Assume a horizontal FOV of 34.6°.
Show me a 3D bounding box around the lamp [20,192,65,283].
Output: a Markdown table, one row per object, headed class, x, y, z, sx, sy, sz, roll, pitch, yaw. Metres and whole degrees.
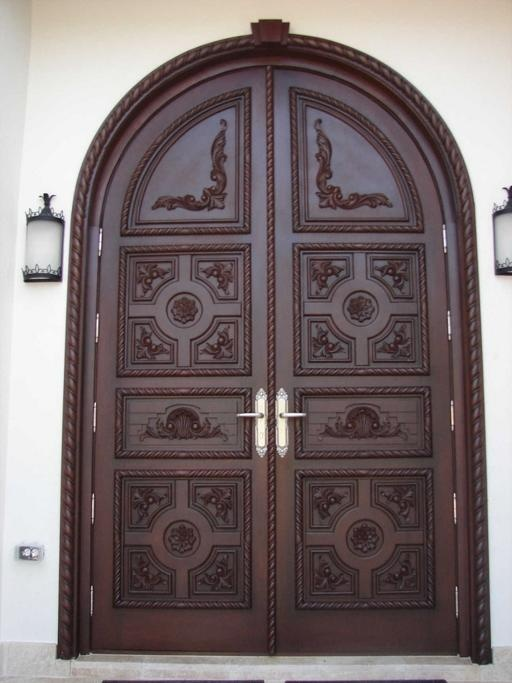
| class | x | y | z | sx | sy | sz | roll | pitch | yaw |
| --- | --- | --- | --- | --- | --- | --- | --- | --- | --- |
| lamp | -0.887 | -0.437 | 3.459 | 0.167 | 0.371 | 0.135 | 0 | -14 | -8 |
